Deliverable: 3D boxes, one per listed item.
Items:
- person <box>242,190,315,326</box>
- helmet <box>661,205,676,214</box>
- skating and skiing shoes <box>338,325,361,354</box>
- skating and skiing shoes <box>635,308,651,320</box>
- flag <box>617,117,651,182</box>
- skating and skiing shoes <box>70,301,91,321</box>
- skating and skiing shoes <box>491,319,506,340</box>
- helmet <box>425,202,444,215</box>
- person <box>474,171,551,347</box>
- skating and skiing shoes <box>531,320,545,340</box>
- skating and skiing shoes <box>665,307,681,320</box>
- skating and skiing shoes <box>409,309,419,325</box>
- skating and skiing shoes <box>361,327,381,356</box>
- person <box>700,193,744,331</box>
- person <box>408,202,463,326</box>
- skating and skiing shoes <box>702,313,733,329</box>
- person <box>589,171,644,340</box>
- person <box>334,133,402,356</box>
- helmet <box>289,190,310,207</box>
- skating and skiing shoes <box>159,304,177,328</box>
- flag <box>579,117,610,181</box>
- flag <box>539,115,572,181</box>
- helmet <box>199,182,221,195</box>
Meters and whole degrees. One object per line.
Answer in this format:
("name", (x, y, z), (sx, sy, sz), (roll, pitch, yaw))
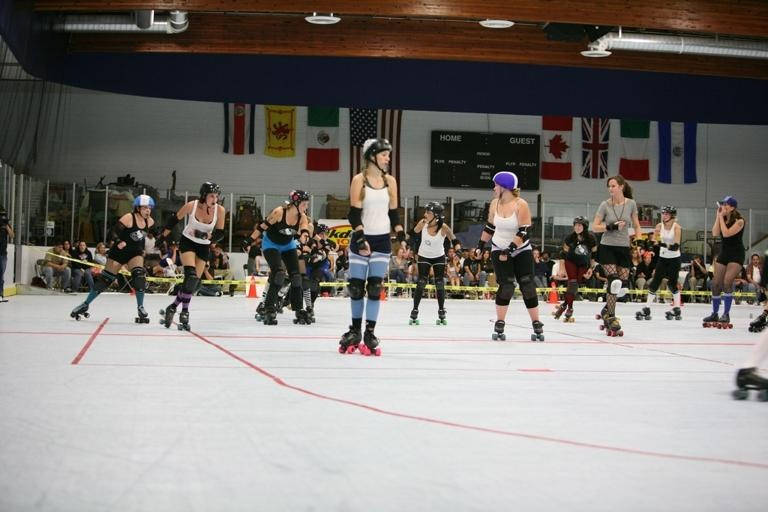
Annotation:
("person", (-1.516, 0.011, 12.331), (0.805, 2.005, 1.047), (-1, 11, -9))
("helmet", (4.830, -0.778, 14.058), (0.202, 0.198, 0.166), (15, 1, 13))
("skating and skiing shoes", (-0.405, 0.980, 9.702), (0.266, 0.295, 0.189), (-1, 11, -6))
("skating and skiing shoes", (4.524, 1.010, 14.583), (0.165, 0.261, 0.319), (1, 3, -17))
("flag", (7.680, -3.220, 25.290), (0.999, 1.806, 0.342), (-1, 10, -9))
("skating and skiing shoes", (-4.454, 0.817, 12.207), (0.208, 0.289, 0.416), (0, -8, 23))
("skating and skiing shoes", (1.520, 0.975, 10.962), (0.179, 0.249, 0.143), (1, 11, 5))
("helmet", (0.786, -0.772, 12.859), (0.236, 0.228, 0.195), (26, 18, 9))
("person", (1.726, 0.032, 11.219), (0.822, 2.305, 1.042), (0, 10, -3))
("skating and skiing shoes", (2.047, 0.989, 11.025), (0.178, 0.267, 0.390), (2, 11, 11))
("skating and skiing shoes", (5.124, 1.024, 14.809), (0.291, 0.307, 0.186), (3, -3, 7))
("skating and skiing shoes", (0.472, 0.956, 13.002), (0.178, 0.269, 0.616), (1, -4, 5))
("skating and skiing shoes", (-0.165, 0.980, 9.655), (0.236, 0.292, 0.343), (0, 11, -3))
("person", (5.329, 0.101, 12.939), (0.505, 2.090, 0.705), (5, 11, 24))
("person", (0.769, 0.121, 13.253), (0.672, 2.016, 1.478), (1, 11, 4))
("skating and skiing shoes", (5.294, 1.048, 13.133), (0.348, 0.158, 0.256), (9, -9, -29))
("person", (3.304, 0.023, 11.920), (0.639, 2.316, 1.066), (4, 11, 17))
("person", (-0.141, -0.123, 9.702), (0.636, 2.443, 0.788), (4, 11, 21))
("helmet", (-1.239, -0.849, 12.118), (0.260, 0.214, 0.211), (-7, 2, 3))
("skating and skiing shoes", (-3.033, 0.807, 11.618), (0.200, 0.160, 0.449), (-30, 30, -6))
("flag", (6.432, -3.280, 25.308), (0.945, 1.795, 0.229), (0, 10, 0))
("flag", (5.233, -3.245, 25.072), (0.979, 1.912, 0.551), (1, 10, 4))
("helmet", (-2.389, -0.913, 11.356), (0.233, 0.172, 0.214), (7, 13, 29))
